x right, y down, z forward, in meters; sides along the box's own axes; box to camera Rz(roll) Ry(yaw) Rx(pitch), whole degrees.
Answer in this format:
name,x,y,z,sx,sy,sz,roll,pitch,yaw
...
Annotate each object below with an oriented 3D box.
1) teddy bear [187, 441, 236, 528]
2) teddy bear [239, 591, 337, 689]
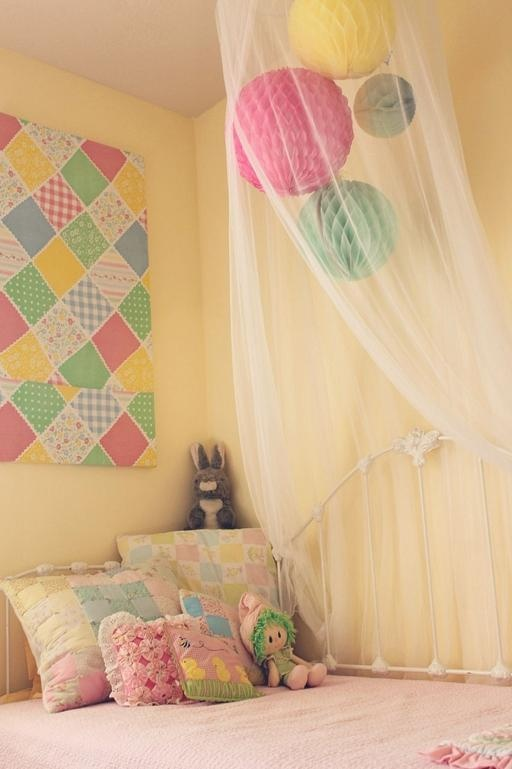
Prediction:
name,x,y,z,sx,sy,sz,roll,pitch,yaw
teddy bear,-0.177,0.425,2.862,0.221,0.375,0.217,-9,-19,17
teddy bear,0.063,0.753,2.061,0.165,0.260,0.226,-13,-1,-42
